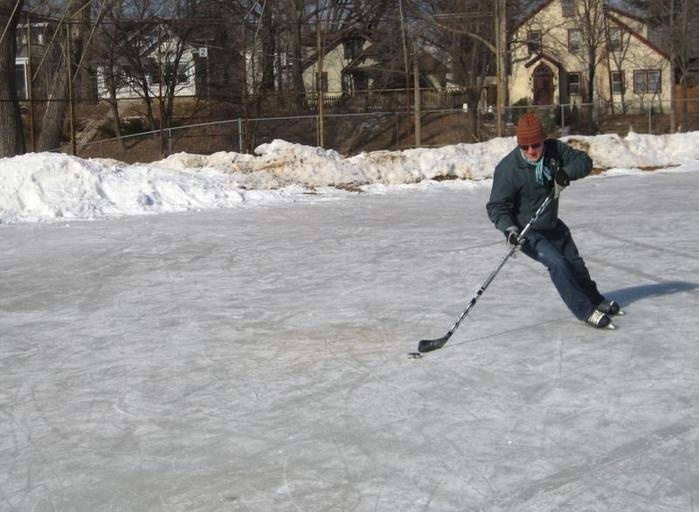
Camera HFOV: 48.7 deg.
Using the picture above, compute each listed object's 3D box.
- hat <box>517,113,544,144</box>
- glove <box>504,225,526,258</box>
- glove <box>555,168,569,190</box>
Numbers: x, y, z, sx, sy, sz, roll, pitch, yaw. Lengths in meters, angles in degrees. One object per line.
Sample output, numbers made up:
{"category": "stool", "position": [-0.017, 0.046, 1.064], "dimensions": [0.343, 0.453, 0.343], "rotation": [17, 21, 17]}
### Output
{"category": "hat", "position": [1.666, -1.154, 7.087], "dimensions": [0.247, 0.299, 0.235], "rotation": [1, 12, 13]}
{"category": "glove", "position": [1.550, -0.121, 7.250], "dimensions": [0.190, 0.320, 0.300], "rotation": [1, 12, 11]}
{"category": "glove", "position": [1.960, -0.709, 7.124], "dimensions": [0.118, 0.188, 0.137], "rotation": [2, 12, 14]}
